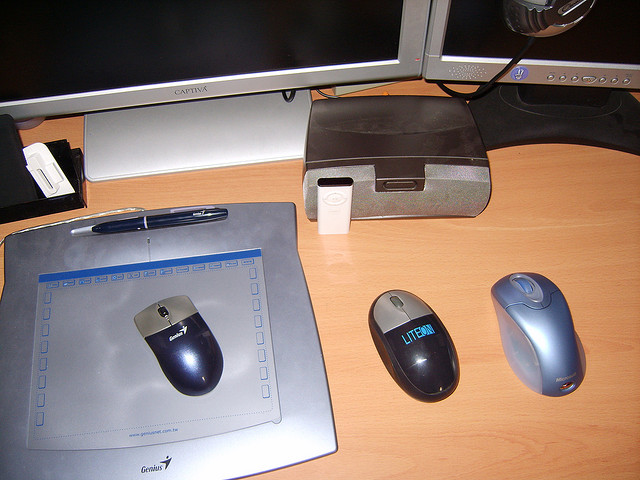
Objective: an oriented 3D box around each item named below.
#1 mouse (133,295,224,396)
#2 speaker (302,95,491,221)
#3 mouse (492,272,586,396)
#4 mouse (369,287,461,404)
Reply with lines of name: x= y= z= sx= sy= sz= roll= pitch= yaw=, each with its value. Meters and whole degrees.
mouse: x=-0.190 y=0.146 z=0.686 sx=0.077 sy=0.029 sz=0.146 roll=-30 pitch=66 yaw=-21
speaker: x=0.122 y=-0.167 z=0.913 sx=0.382 sy=0.175 sz=0.273 roll=4 pitch=42 yaw=1
mouse: x=0.318 y=0.135 z=0.743 sx=0.106 sy=0.061 sz=0.170 roll=-7 pitch=61 yaw=-1
mouse: x=0.134 y=0.163 z=0.733 sx=0.095 sy=0.055 sz=0.165 roll=-14 pitch=62 yaw=-13
